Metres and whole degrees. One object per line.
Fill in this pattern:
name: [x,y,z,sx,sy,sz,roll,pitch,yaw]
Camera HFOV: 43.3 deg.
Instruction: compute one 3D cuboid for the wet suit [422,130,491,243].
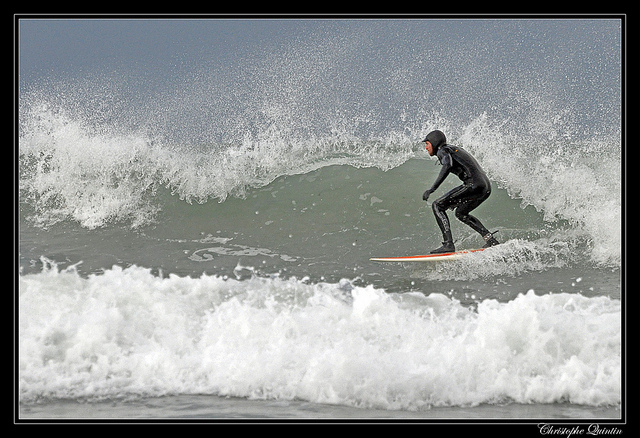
wet suit: [2.515,-0.637,14.886,1.151,2.068,0.725,-4,-13,-12]
